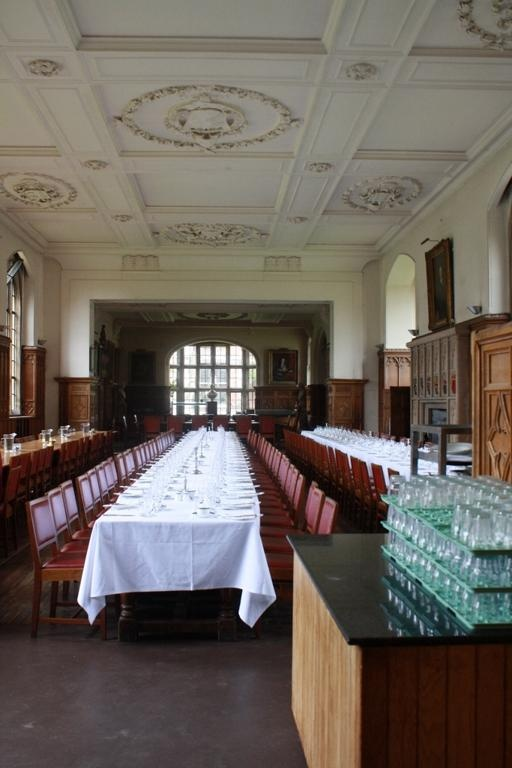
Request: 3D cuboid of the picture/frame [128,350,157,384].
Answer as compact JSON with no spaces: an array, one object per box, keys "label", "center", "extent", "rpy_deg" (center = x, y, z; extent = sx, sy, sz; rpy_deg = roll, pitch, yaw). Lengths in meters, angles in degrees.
[{"label":"picture/frame","center":[-5.082,-0.708,22.750],"extent":[1.378,1.866,0.258],"rpy_deg":[1,-6,-5]}]
